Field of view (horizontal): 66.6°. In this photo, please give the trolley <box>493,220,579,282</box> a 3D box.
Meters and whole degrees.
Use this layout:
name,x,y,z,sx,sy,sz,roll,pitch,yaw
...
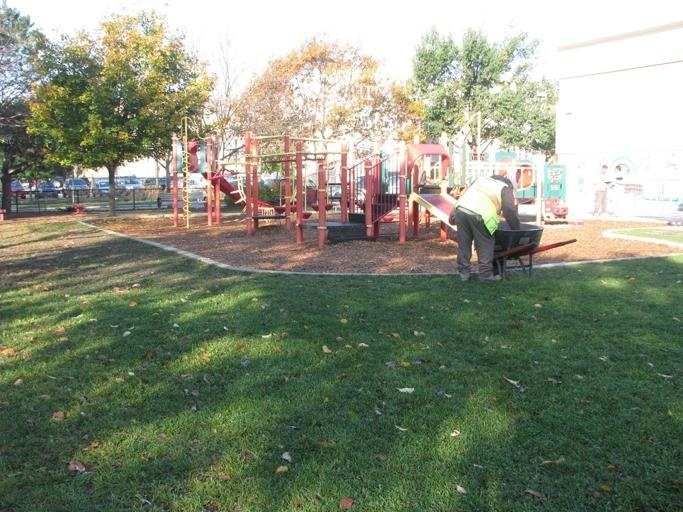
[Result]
name,x,y,z,sx,sy,sz,roll,pitch,yaw
trolley,3.481,-0.231,10.048,1.852,1.236,1.502,-3,8,-16

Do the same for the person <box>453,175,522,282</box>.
name,x,y,z,sx,sy,sz,roll,pitch,yaw
person,2.614,-0.630,9.538,1.092,2.123,0.668,0,1,-17
